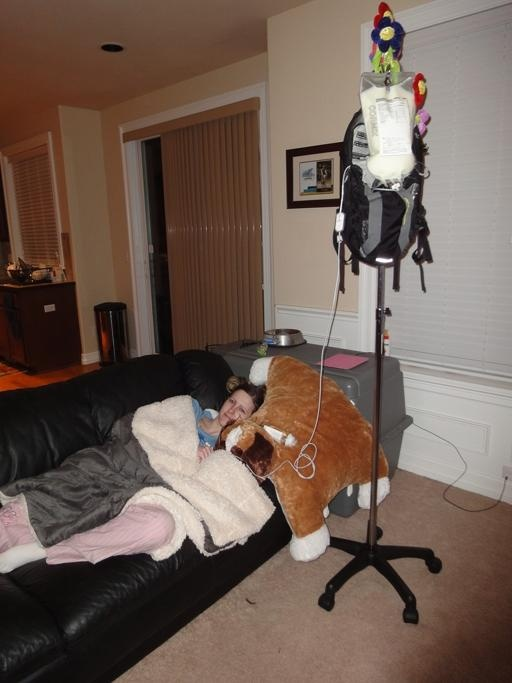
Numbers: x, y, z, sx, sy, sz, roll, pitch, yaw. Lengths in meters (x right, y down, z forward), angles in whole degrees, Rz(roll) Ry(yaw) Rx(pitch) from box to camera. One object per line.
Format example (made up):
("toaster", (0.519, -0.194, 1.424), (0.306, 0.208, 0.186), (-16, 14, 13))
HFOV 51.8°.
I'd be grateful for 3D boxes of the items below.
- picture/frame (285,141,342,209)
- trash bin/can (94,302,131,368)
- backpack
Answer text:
("picture/frame", (0.312, -0.890, 2.861), (0.044, 0.337, 0.396), (-14, 19, -40))
("trash bin/can", (-1.365, -0.061, 5.028), (0.310, 0.544, 0.318), (6, 12, 41))
("backpack", (0.370, -0.487, 1.639), (0.326, 0.447, 0.138), (-7, 25, -9))
